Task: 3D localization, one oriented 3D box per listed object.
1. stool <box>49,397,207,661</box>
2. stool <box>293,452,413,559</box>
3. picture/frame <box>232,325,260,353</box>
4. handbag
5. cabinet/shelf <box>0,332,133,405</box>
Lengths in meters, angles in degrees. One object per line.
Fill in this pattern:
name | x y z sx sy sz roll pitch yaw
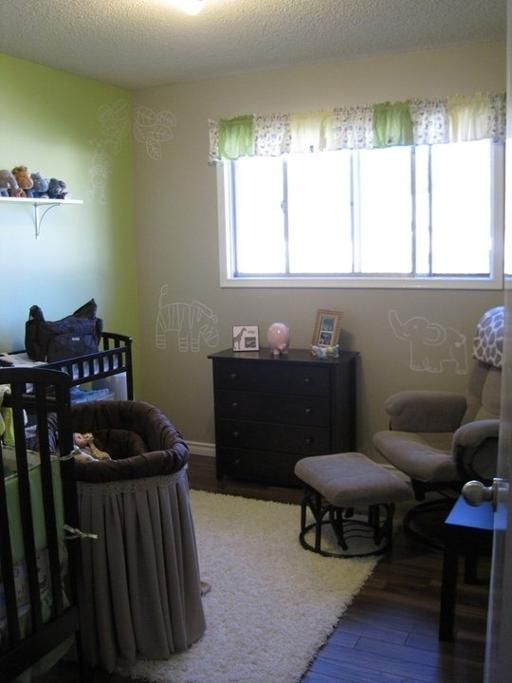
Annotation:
stool | -0.490 0.724 2.081 0.432 0.607 0.655 -2 -14 6
stool | 0.453 0.814 2.837 0.471 0.401 0.587 2 3 -8
picture/frame | -0.069 -0.013 3.914 0.169 0.167 0.057 0 -9 -1
handbag | -1.134 -0.068 3.428 0.208 0.337 0.478 11 16 36
cabinet/shelf | -1.140 0.083 3.585 0.418 0.530 0.793 2 7 25
